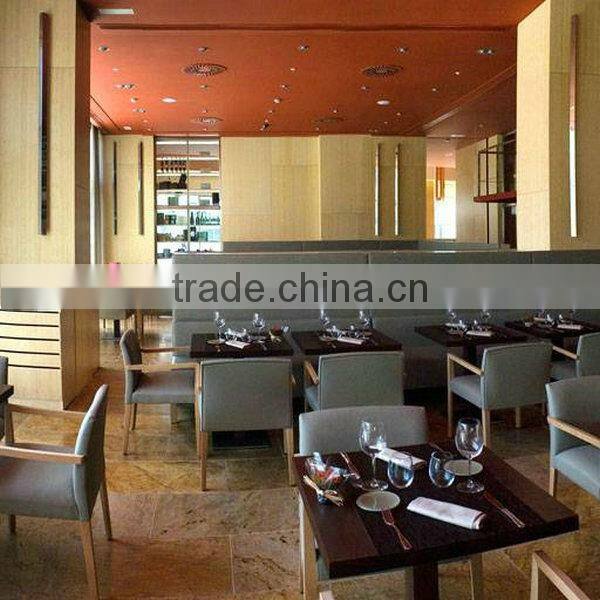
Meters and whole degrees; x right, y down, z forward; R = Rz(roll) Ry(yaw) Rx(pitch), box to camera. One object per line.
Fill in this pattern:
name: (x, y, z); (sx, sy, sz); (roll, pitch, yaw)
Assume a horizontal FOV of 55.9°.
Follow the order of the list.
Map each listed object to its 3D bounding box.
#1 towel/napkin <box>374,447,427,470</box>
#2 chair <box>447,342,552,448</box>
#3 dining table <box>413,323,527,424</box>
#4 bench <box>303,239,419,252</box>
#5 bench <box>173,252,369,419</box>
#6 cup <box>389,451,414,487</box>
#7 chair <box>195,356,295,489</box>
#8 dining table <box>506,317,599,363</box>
towel/napkin: (0.320, 0.524, 1.888); (0.113, 0.016, 0.107); (1, 3, -41)
chair: (1.362, 0.589, 3.824); (0.604, 0.726, 0.658); (-7, 6, -23)
dining table: (1.296, 0.577, 4.473); (0.870, 0.636, 0.808); (4, 9, 44)
bench: (1.114, -0.972, 10.164); (2.194, 0.168, 0.217); (-2, 7, -11)
bench: (-0.258, 0.104, 5.372); (1.955, 1.356, 1.072); (0, 5, -3)
cup: (0.310, 0.529, 1.774); (0.085, 0.112, 0.092); (0, -3, 0)
chair: (-0.292, 0.630, 3.359); (0.647, 0.911, 0.661); (0, 12, -5)
dining table: (2.019, 0.237, 4.582); (0.476, 0.355, 0.478); (-7, 15, -29)
